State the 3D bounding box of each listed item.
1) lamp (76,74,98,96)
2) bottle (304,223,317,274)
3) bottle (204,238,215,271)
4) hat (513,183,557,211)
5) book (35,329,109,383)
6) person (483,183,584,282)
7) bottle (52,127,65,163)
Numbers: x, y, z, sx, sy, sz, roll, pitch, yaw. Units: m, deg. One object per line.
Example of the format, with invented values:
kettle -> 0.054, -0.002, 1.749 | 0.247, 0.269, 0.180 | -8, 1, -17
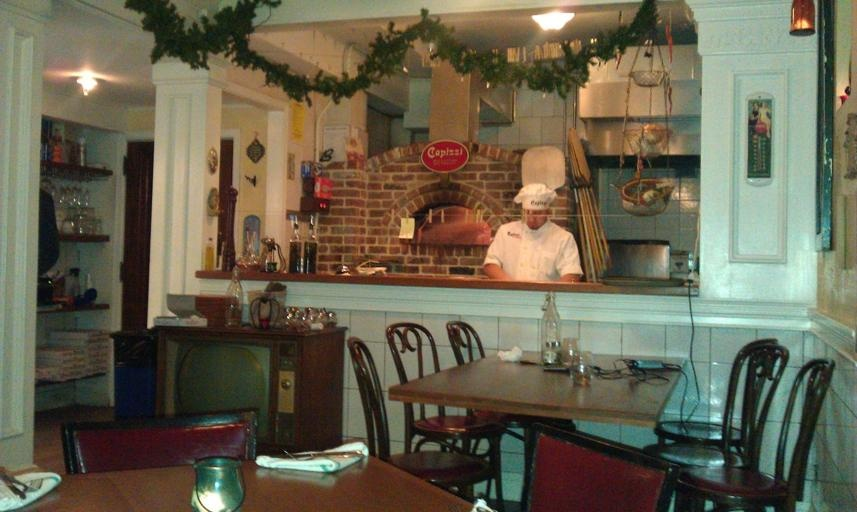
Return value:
lamp -> -3.269, -1.657, 7.075 | 0.201, 0.207, 0.051 | 7, 5, -11
bottle -> -0.960, -0.013, 5.921 | 0.083, 0.263, 0.165 | 0, 0, 2
bottle -> -1.842, -0.017, 6.123 | 0.085, 0.231, 0.220 | -1, 0, -11
hat -> 0.950, -0.509, 6.538 | 0.298, 0.158, 0.293 | 0, 5, 10
book -> -3.596, 1.034, 7.415 | 0.779, 0.328, 0.579 | -3, 0, 28
person -> 0.894, -0.021, 6.521 | 0.910, 1.235, 0.758 | 3, 2, 18
bottle -> -3.796, -1.141, 7.527 | 0.110, 0.362, 0.484 | -1, 0, -27
